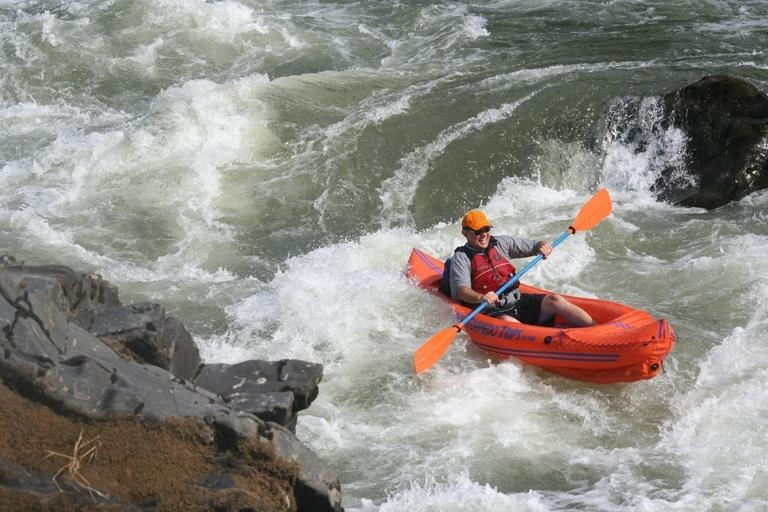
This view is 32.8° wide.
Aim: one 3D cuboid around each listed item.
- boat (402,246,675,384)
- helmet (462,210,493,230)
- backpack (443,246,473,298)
[{"bbox_3d":[2.533,1.228,22.185,4.558,1.338,1.435,15,38,26],"label":"boat"},{"bbox_3d":[1.541,-0.608,22.220,0.444,0.137,0.379,-15,67,5],"label":"helmet"},{"bbox_3d":[1.279,0.305,22.312,0.498,0.903,0.759,6,97,24],"label":"backpack"}]
